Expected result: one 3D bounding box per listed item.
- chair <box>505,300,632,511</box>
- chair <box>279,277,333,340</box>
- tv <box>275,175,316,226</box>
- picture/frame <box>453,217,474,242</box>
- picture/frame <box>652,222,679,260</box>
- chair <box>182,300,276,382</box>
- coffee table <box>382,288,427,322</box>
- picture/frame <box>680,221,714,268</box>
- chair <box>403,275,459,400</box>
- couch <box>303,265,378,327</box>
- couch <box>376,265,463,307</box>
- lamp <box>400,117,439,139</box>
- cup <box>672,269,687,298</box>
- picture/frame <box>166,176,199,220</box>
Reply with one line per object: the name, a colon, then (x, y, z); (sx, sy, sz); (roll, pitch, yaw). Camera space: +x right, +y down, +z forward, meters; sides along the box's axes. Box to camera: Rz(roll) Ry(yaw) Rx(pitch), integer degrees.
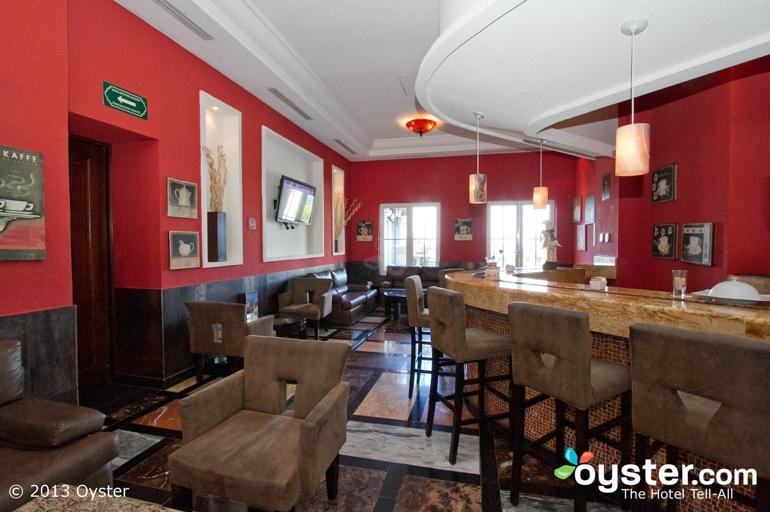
chair: (1.536, 1.250, 4.207); (0.962, 1.388, 0.595); (-1, 0, 24)
chair: (-1.212, 0.762, 7.976); (0.871, 1.073, 0.907); (0, -3, 11)
tv: (-1.591, -0.957, 8.873); (0.157, 0.767, 1.358); (11, 3, 15)
picture/frame: (1.693, -0.581, 10.631); (0.531, 0.578, 0.081); (2, 0, 10)
picture/frame: (3.701, -0.206, 6.708); (0.511, 0.465, 0.059); (-2, 4, -29)
chair: (-1.917, 0.982, 6.246); (0.892, 1.119, 1.042); (-1, 0, 14)
coffee table: (0.193, 0.894, 9.326); (0.760, 0.541, 0.757); (0, -1, 26)
picture/frame: (3.695, -0.153, 6.015); (0.543, 0.500, 0.076); (1, 1, -26)
chair: (0.624, 0.902, 5.915); (0.786, 1.326, 0.740); (0, -1, 8)
couch: (-0.745, 0.729, 9.486); (0.802, 0.901, 1.796); (1, 4, 13)
couch: (0.884, 0.612, 10.320); (1.838, 0.673, 0.604); (1, 19, 19)
lamp: (0.590, -2.256, 8.593); (0.393, 0.183, 0.392); (-3, -4, 25)
cup: (2.529, 0.240, 4.298); (0.090, 0.182, 0.125); (-1, 0, 40)
picture/frame: (-2.462, -0.702, 6.055); (0.055, 0.539, 0.555); (-5, -5, 22)
